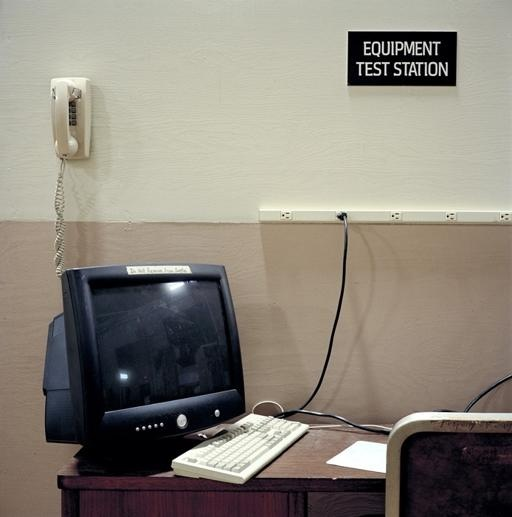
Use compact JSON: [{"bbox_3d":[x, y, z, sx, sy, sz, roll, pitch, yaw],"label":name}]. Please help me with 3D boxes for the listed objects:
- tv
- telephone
[{"bbox_3d":[-0.362,0.301,1.655,0.441,0.427,0.554,4,-22,-44],"label":"tv"},{"bbox_3d":[-0.556,-0.418,1.764,0.123,0.240,0.095,-2,11,-11],"label":"telephone"}]
